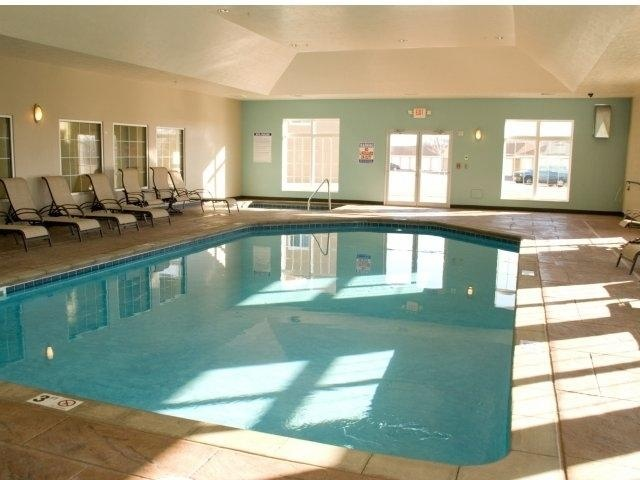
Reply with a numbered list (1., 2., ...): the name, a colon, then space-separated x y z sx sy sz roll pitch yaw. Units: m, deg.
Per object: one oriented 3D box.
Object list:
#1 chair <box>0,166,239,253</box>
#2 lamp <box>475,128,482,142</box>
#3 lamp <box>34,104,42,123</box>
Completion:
1. chair: -5.439 -0.858 9.567 2.245 1.266 2.961 3 13 11
2. lamp: 5.546 -3.676 14.348 0.280 0.401 0.141 4 14 15
3. lamp: -6.339 -2.835 9.223 0.086 0.331 0.257 3 5 25
